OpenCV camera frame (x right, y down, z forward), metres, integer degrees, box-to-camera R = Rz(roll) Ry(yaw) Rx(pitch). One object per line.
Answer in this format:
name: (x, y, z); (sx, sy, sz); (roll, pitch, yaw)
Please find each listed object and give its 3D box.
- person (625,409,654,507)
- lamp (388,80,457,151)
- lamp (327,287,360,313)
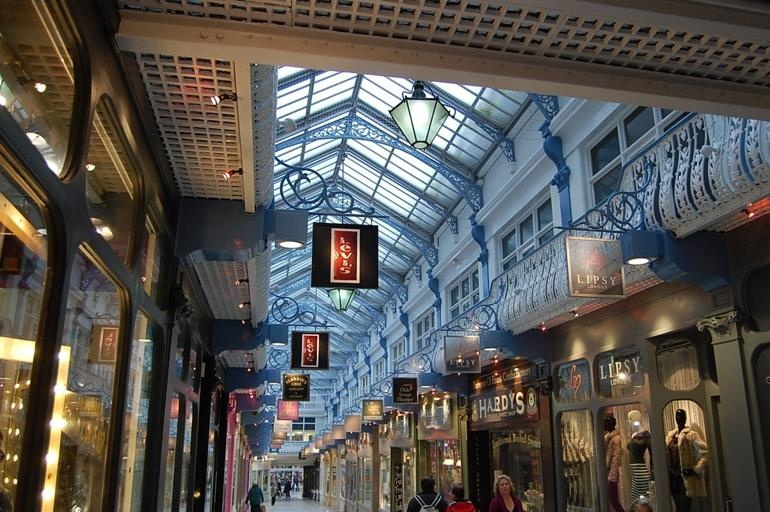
person: (4.018, 3.207, 9.458); (0.424, 1.365, 1.776); (-9, -25, 19)
lamp: (0.298, -1.317, 5.638); (0.641, 0.978, 0.605); (0, -42, -3)
lamp: (-0.732, 0.680, 9.840); (0.355, 0.341, 0.644); (5, -25, -13)
